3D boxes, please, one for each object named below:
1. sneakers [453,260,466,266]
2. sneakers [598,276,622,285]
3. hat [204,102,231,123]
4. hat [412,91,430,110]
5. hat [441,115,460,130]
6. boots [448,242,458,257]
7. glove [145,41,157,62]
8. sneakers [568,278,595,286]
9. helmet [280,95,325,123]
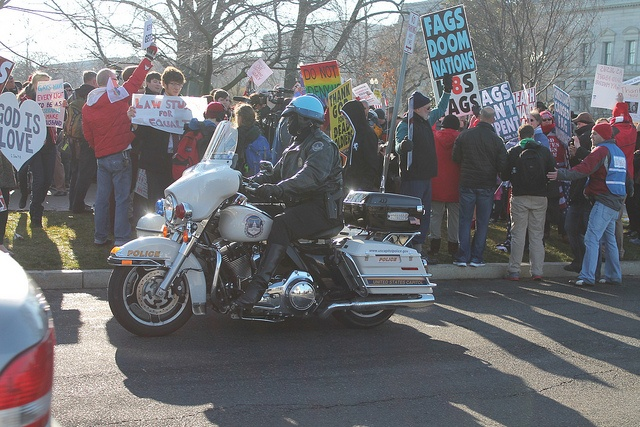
[{"bbox_3d":[2.436,0.864,10.450,0.083,0.110,0.229,0,0,-23],"label":"sneakers"},{"bbox_3d":[5.109,1.183,10.583,0.376,0.173,0.134,0,1,18],"label":"sneakers"},{"bbox_3d":[-1.765,-1.726,10.148,0.383,0.172,0.422,-12,23,-31],"label":"hat"},{"bbox_3d":[1.729,-1.970,10.410,0.218,0.220,0.315,-28,31,-37],"label":"hat"},{"bbox_3d":[2.475,-1.717,11.411,0.226,0.321,0.275,2,10,-14],"label":"hat"},{"bbox_3d":[2.442,0.662,11.045,0.131,0.281,0.261,1,-4,6],"label":"boots"},{"bbox_3d":[-2.782,-2.636,9.699,0.102,0.310,0.214,13,7,13],"label":"glove"},{"bbox_3d":[4.496,1.190,10.300,0.395,0.181,0.148,-1,7,18],"label":"sneakers"},{"bbox_3d":[-0.181,-1.250,7.058,0.405,0.247,0.304,11,2,2],"label":"helmet"}]
